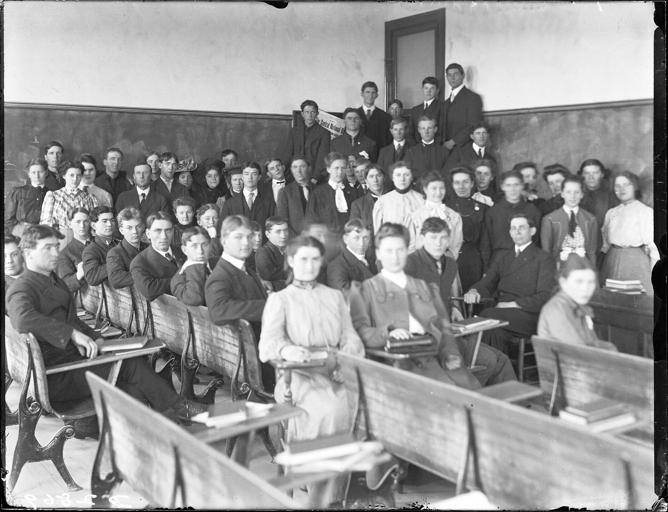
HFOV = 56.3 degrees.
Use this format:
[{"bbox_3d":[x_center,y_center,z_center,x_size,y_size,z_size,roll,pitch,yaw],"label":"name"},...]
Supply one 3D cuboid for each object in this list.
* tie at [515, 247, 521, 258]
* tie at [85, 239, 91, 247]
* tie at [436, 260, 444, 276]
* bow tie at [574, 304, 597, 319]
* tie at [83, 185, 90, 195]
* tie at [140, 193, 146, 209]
[{"bbox_3d":[1.707,-0.033,5.767,0.052,0.076,0.018,-5,-16,42],"label":"tie"},{"bbox_3d":[-2.319,-0.123,5.888,0.047,0.016,0.066,1,31,3],"label":"tie"},{"bbox_3d":[0.940,0.104,5.522,0.035,0.143,0.036,10,-21,-26],"label":"tie"},{"bbox_3d":[1.955,0.436,4.867,0.118,0.038,0.120,3,14,-6],"label":"bow tie"},{"bbox_3d":[-2.375,-0.634,5.980,0.089,0.089,0.024,-3,-1,-43],"label":"tie"},{"bbox_3d":[-1.890,-0.553,6.175,0.035,0.139,0.035,7,-2,-8],"label":"tie"}]
